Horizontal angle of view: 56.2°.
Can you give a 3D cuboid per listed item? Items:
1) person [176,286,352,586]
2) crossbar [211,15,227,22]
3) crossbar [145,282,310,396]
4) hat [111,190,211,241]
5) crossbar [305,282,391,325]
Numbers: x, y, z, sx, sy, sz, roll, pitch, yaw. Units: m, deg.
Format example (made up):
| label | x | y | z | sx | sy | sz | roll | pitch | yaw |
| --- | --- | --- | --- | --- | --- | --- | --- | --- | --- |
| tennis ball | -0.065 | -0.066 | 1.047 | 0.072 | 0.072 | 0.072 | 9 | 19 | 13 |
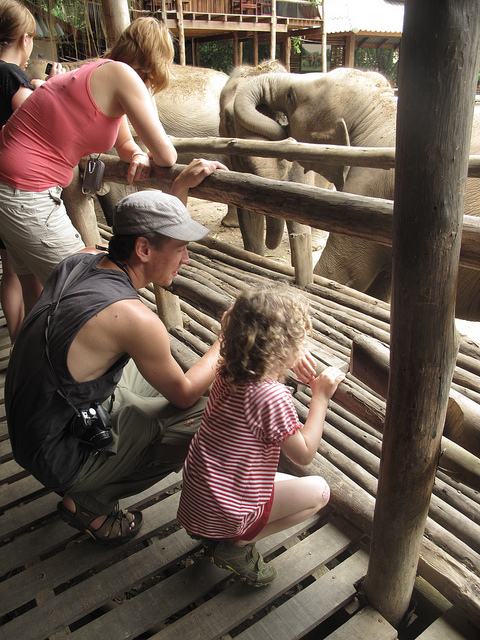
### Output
| label | x | y | z | sx | sy | sz | roll | pitch | yaw |
| --- | --- | --- | --- | --- | --- | --- | --- | --- | --- |
| person | 0.052 | 0.375 | 1.402 | 0.458 | 0.842 | 0.429 | 2 | 10 | -27 |
| crossbar | -0.600 | -8.904 | 13.239 | 0.308 | 0.108 | 0.210 | -5 | 25 | -13 |
| crossbar | -0.063 | 0.070 | 1.538 | 0.123 | 0.138 | 0.664 | -21 | 53 | -44 |
| hat | -0.248 | -0.307 | 1.370 | 0.321 | 0.152 | 0.222 | -3 | 10 | 10 |
| crossbar | 0.874 | -0.141 | 3.734 | 0.862 | 0.100 | 0.106 | 30 | 5 | 39 |
